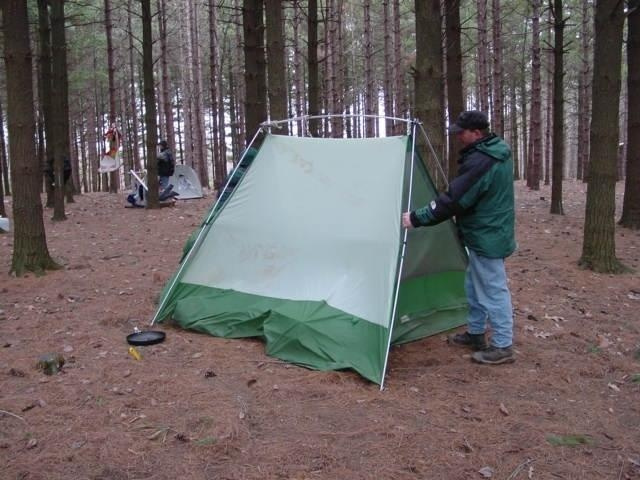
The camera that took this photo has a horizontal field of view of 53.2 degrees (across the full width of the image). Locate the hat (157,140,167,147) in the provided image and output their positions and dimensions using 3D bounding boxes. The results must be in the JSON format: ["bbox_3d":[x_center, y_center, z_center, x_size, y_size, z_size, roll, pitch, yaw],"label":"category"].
[{"bbox_3d":[-4.140,-2.499,16.673,0.203,0.116,0.201,2,3,-2],"label":"hat"}]

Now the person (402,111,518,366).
[{"bbox_3d":[1.593,-0.028,6.849,0.932,2.646,0.602,0,12,15],"label":"person"}]

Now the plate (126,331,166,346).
[{"bbox_3d":[-1.971,1.112,7.259,0.421,0.092,0.377,-5,11,-11],"label":"plate"}]

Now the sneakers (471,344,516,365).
[{"bbox_3d":[1.844,1.235,6.799,0.425,0.203,0.176,3,5,2],"label":"sneakers"}]

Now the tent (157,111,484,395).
[{"bbox_3d":[0.255,0.060,8.135,3.497,2.417,3.177,8,13,33],"label":"tent"}]

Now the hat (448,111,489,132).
[{"bbox_3d":[1.581,-1.265,6.704,0.323,0.163,0.228,7,18,15],"label":"hat"}]
